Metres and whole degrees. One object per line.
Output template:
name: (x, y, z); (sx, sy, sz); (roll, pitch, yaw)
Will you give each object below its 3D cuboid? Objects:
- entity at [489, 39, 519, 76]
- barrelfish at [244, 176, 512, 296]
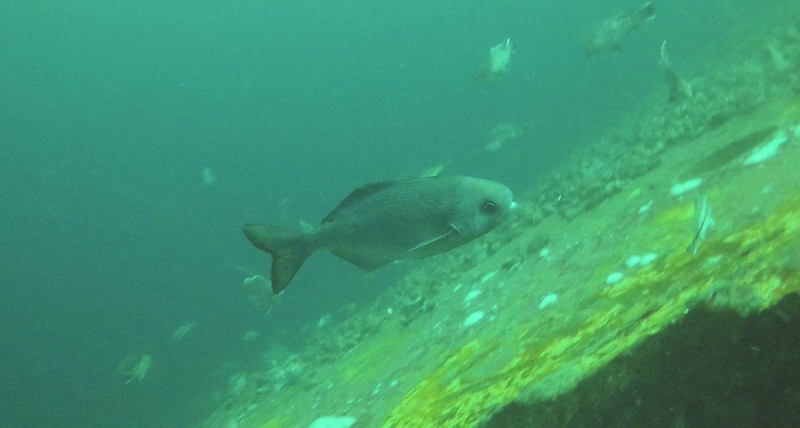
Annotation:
entity: (1.001, -1.555, 8.102); (0.116, 0.246, 0.343); (-24, -57, -82)
barrelfish: (-0.154, 0.146, 7.609); (2.581, 0.845, 0.684); (-10, 10, 13)
